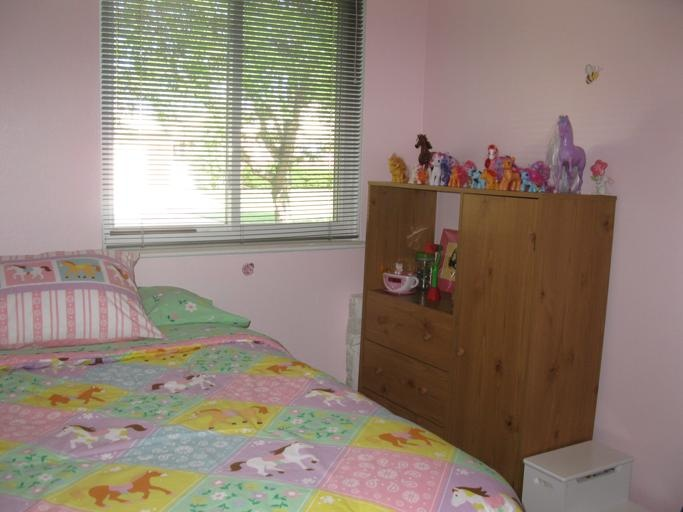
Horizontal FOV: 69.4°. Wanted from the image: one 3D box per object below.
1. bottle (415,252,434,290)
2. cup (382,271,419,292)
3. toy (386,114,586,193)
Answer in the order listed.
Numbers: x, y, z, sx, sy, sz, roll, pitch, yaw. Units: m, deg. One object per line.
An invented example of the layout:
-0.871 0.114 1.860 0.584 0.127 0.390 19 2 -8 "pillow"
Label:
0.524 0.066 3.138 0.129 0.209 0.126 3 5 0 "bottle"
0.358 0.123 2.987 0.155 0.071 0.118 2 0 -1 "cup"
0.744 -0.578 2.819 0.364 0.444 1.213 -10 16 -36 "toy"
